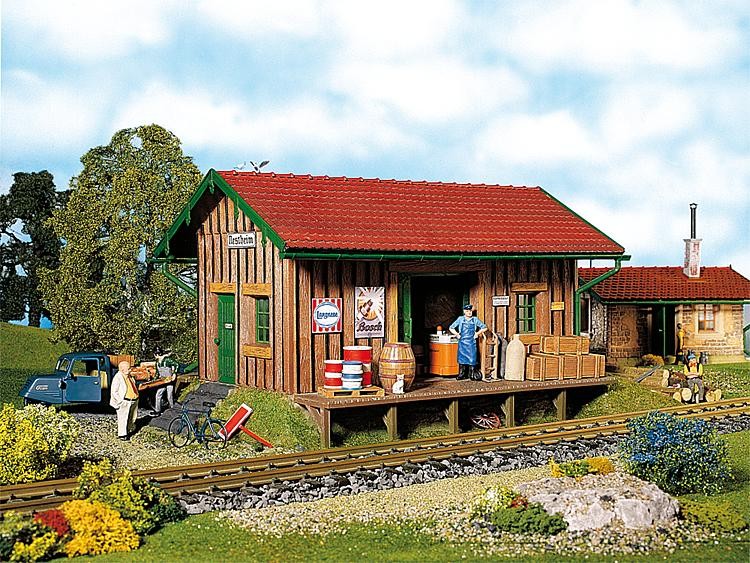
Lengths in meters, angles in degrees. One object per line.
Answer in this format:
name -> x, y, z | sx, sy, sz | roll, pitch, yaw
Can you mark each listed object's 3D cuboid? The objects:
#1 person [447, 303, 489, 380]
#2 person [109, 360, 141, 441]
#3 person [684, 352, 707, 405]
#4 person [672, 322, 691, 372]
person -> 2.335, 1.522, 20.879 | 0.758, 1.881, 0.376 | 1, 5, 4
person -> -5.866, 2.758, 19.644 | 0.590, 1.922, 0.906 | -1, 5, -16
person -> 9.481, 2.860, 24.887 | 0.587, 1.133, 2.309 | 3, 5, 21
person -> 11.713, 2.337, 32.030 | 0.489, 1.477, 0.900 | 3, 5, 20
